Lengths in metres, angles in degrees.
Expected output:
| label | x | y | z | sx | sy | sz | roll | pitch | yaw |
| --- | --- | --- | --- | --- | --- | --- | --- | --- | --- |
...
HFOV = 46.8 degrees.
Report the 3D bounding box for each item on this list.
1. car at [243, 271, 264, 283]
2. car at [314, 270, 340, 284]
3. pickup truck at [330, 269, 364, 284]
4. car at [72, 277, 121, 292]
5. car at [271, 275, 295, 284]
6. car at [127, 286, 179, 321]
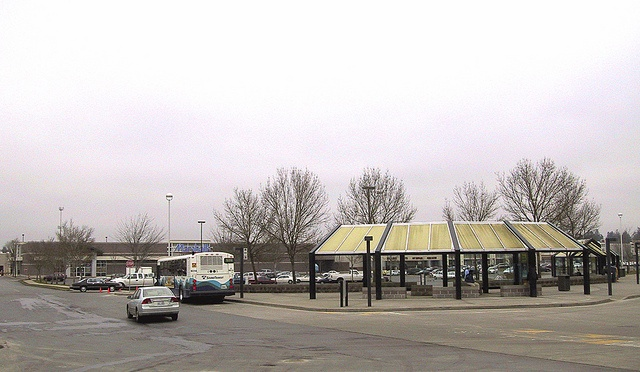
| label | x | y | z | sx | sy | sz | roll | pitch | yaw |
| --- | --- | --- | --- | --- | --- | --- | --- | --- | --- |
| car | -8.746 | 11.606 | 94.246 | 1.864 | 1.427 | 3.147 | -2 | -15 | 4 |
| car | 1.430 | 11.800 | 94.406 | 2.150 | 1.049 | 3.316 | -2 | -13 | 5 |
| pickup truck | 3.215 | 11.559 | 92.543 | 3.946 | 1.110 | 2.248 | -3 | -6 | 7 |
| car | -26.337 | 11.566 | 86.349 | 5.033 | 1.285 | 2.122 | 0 | -3 | -10 |
| car | -4.433 | 11.878 | 93.874 | 2.413 | 0.736 | 1.057 | 1 | -5 | 23 |
| car | -12.555 | 8.800 | 55.163 | 3.944 | 2.567 | 1.816 | -5 | -12 | 18 |
